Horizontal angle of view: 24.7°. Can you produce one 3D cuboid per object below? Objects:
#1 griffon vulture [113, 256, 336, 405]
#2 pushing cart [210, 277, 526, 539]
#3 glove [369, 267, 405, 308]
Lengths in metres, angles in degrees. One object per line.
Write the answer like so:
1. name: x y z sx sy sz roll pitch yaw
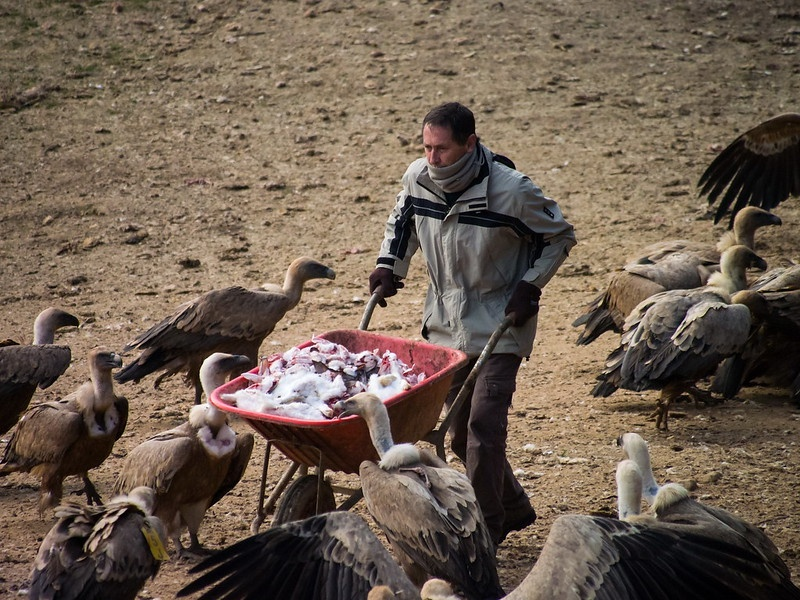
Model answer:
1. griffon vulture: -2.084 0.258 22.418 2.690 1.525 0.870 -4 15 -13
2. pushing cart: -0.450 1.152 20.125 2.650 2.611 2.395 -3 13 7
3. glove: -0.153 -0.153 20.053 0.330 0.429 0.165 12 9 21
